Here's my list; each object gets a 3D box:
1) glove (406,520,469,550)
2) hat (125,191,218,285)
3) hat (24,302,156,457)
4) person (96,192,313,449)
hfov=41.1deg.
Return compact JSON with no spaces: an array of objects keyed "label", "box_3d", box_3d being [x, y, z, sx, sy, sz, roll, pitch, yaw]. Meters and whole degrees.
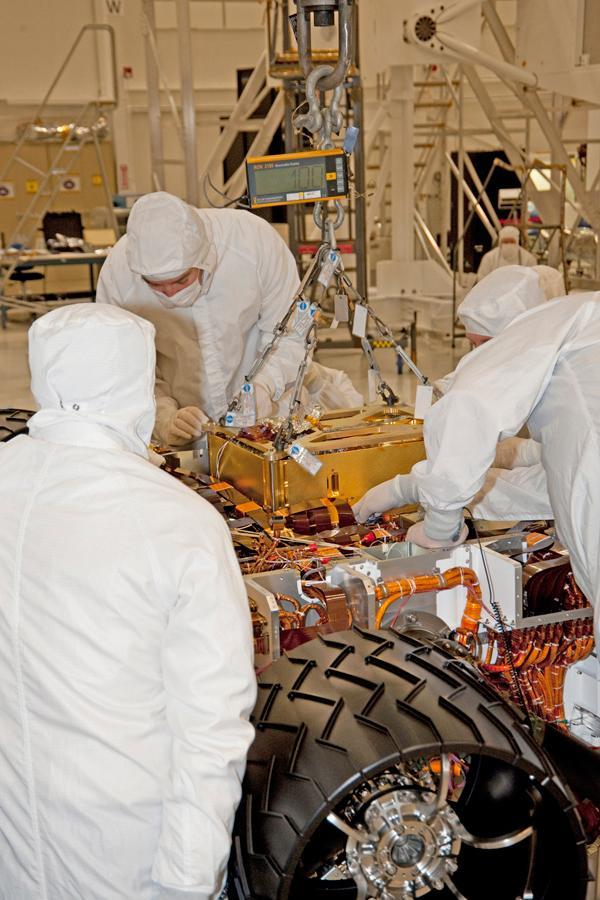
[{"label":"glove","box_3d":[0.354,0.207,2.023,0.101,0.033,0.084,-1,1,-33]},{"label":"hat","box_3d":[-0.467,-0.741,2.778,0.260,0.286,0.259,-5,22,-2]},{"label":"hat","box_3d":[-0.245,-0.110,1.194,0.217,0.245,0.201,2,14,1]},{"label":"person","box_3d":[-0.395,-0.475,3.231,0.818,1.219,0.707,-8,47,-3]}]
